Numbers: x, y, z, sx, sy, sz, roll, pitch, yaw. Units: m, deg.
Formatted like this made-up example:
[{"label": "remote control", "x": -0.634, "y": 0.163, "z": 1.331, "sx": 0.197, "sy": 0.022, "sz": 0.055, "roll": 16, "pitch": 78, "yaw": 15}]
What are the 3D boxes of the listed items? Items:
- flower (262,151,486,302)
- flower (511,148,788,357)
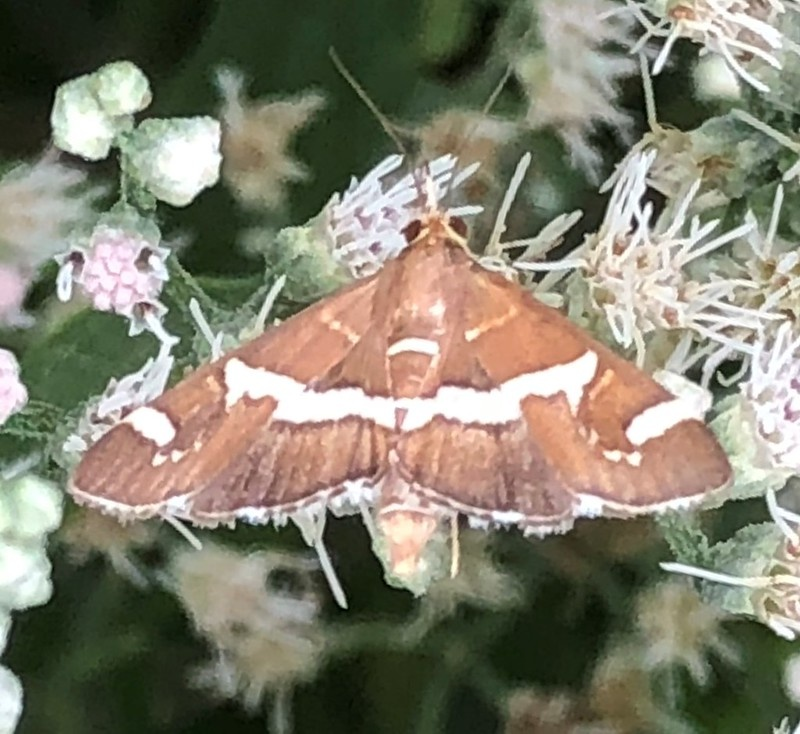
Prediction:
[{"label": "flower", "x": -0.055, "y": -0.201, "z": 1.885, "sx": 0.184, "sy": 0.073, "sz": 0.280, "roll": 38, "pitch": 81, "yaw": 5}, {"label": "flower", "x": 0.363, "y": -0.131, "z": 1.871, "sx": 0.256, "sy": 0.107, "sz": 0.327, "roll": 5, "pitch": 97, "yaw": 6}]
